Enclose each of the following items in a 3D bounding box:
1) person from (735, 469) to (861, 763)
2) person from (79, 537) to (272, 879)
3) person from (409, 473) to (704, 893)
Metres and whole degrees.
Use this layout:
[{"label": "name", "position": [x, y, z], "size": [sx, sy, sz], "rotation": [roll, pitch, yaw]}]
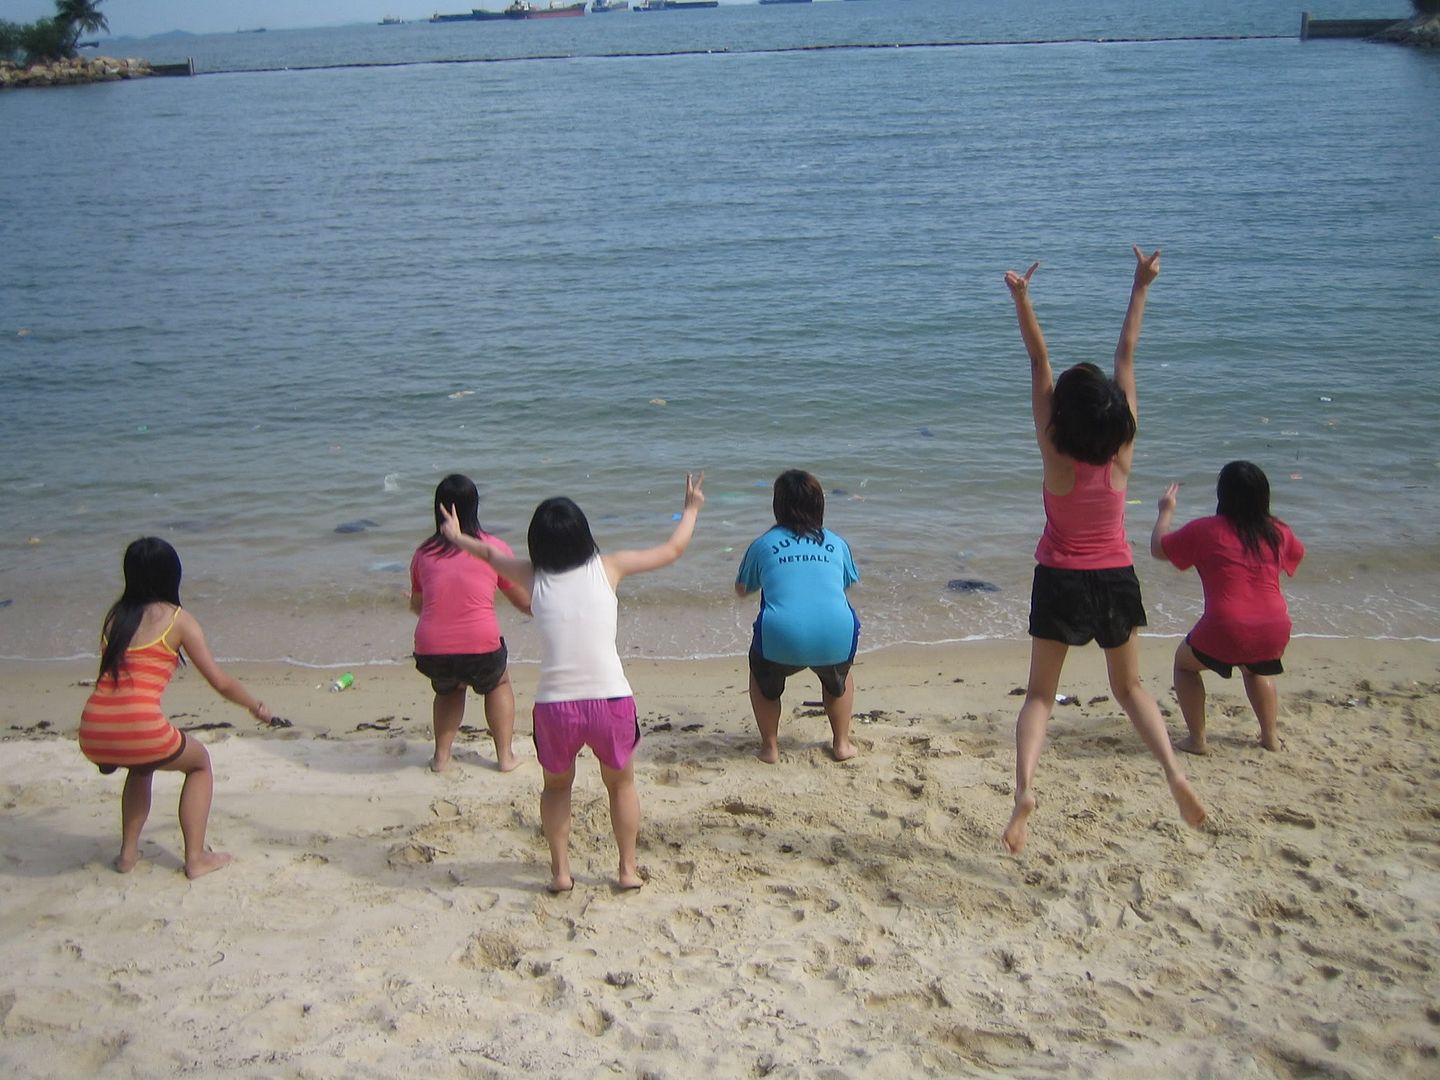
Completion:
[{"label": "person", "position": [0.475, 0.468, 9.096], "size": [0.723, 1.783, 0.408], "rotation": [-1, 17, 2]}, {"label": "person", "position": [-3.059, 0.889, 8.128], "size": [0.809, 1.744, 0.672], "rotation": [0, 17, 5]}, {"label": "person", "position": [-0.686, 0.803, 7.951], "size": [1.148, 2.062, 0.649], "rotation": [-4, 17, -5]}]
